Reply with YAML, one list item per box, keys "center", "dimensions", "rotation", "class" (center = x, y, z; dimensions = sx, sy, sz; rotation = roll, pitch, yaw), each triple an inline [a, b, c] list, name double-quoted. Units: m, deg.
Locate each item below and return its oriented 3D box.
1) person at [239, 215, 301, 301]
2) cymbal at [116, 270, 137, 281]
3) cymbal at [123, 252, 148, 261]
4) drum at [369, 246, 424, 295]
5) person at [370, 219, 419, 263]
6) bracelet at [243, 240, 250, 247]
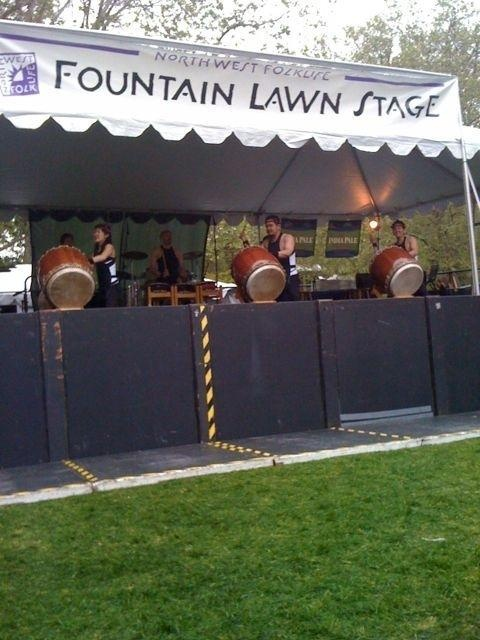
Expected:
- center: [0.498, -0.722, 9.003]
  dimensions: [0.487, 1.388, 0.630]
  rotation: [-30, 37, -33]
  class: "person"
- center: [-1.822, -0.701, 10.802]
  dimensions: [0.293, 0.059, 0.276]
  rotation: [-2, -15, 8]
  class: "cymbal"
- center: [-1.757, -1.060, 11.346]
  dimensions: [0.231, 0.047, 0.217]
  rotation: [-3, -15, -1]
  class: "cymbal"
- center: [1.746, -0.534, 7.387]
  dimensions: [0.474, 0.572, 0.642]
  rotation: [-3, 2, -10]
  class: "drum"
- center: [2.209, -1.018, 9.488]
  dimensions: [0.514, 0.702, 0.441]
  rotation: [-10, 5, 37]
  class: "person"
- center: [0.071, -0.884, 7.911]
  dimensions: [0.100, 0.086, 0.149]
  rotation: [-1, 8, -2]
  class: "bracelet"
